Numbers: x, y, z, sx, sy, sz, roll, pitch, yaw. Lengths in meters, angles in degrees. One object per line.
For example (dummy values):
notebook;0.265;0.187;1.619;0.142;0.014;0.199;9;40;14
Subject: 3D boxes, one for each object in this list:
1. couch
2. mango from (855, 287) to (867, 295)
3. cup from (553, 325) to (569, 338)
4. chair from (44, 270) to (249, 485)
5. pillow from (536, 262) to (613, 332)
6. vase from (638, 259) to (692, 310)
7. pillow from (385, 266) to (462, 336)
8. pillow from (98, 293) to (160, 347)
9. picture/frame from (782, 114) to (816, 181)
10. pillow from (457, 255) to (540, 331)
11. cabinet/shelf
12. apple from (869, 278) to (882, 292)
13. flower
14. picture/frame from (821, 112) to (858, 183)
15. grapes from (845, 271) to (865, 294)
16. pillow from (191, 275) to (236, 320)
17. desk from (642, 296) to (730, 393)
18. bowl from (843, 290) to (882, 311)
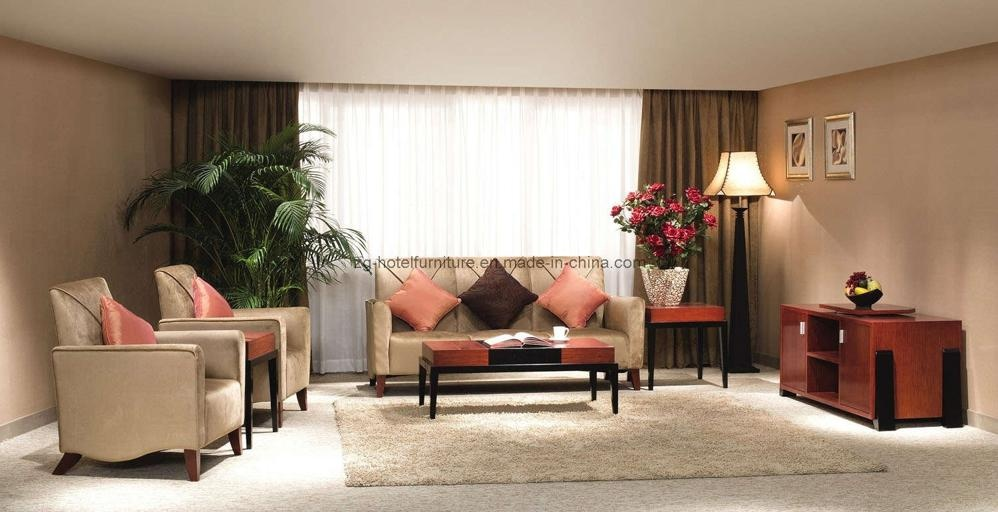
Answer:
couch;0.042;0.801;8.331;3.342;1.428;1.349;1;-1;-15
mango;3.957;0.378;7.396;0.096;0.044;0.075;-2;7;-7
cup;0.696;0.847;7.610;0.126;0.121;0.192;-6;-10;39
chair;-3.553;1.176;7.107;2.109;2.071;1.603;0;0;1
pillow;0.933;0.507;8.466;0.641;0.640;0.623;13;19;41
vase;2.144;0.381;8.614;0.666;0.440;0.628;3;0;-20
pillow;-0.919;0.577;8.180;0.735;0.745;0.223;-51;8;-20
pillow;-3.434;0.637;6.237;0.155;0.452;0.512;-28;-24;14
picture/frame;3.905;-1.380;8.808;0.058;0.741;0.448;-10;11;-22
pillow;-0.016;0.506;8.456;0.863;0.754;0.443;-9;17;-30
cabinet/shelf;4.309;1.239;8.041;1.144;1.011;2.089;1;-2;-2
apple;4.169;0.320;7.504;0.129;0.133;0.120;-1;-16;-43
flower;2.054;-0.413;8.847;1.496;1.120;1.201;0;2;0
picture/frame;4.192;-1.374;8.351;0.058;0.591;0.368;-11;11;-39
grapes;3.985;0.293;7.552;0.233;0.134;0.281;0;39;37
pillow;-3.131;0.461;7.386;0.250;0.367;0.458;-11;-3;9
desk;2.305;1.120;8.719;1.243;0.930;1.063;5;0;-11
bowl;4.031;0.472;7.452;0.257;0.130;0.309;-1;-6;5
